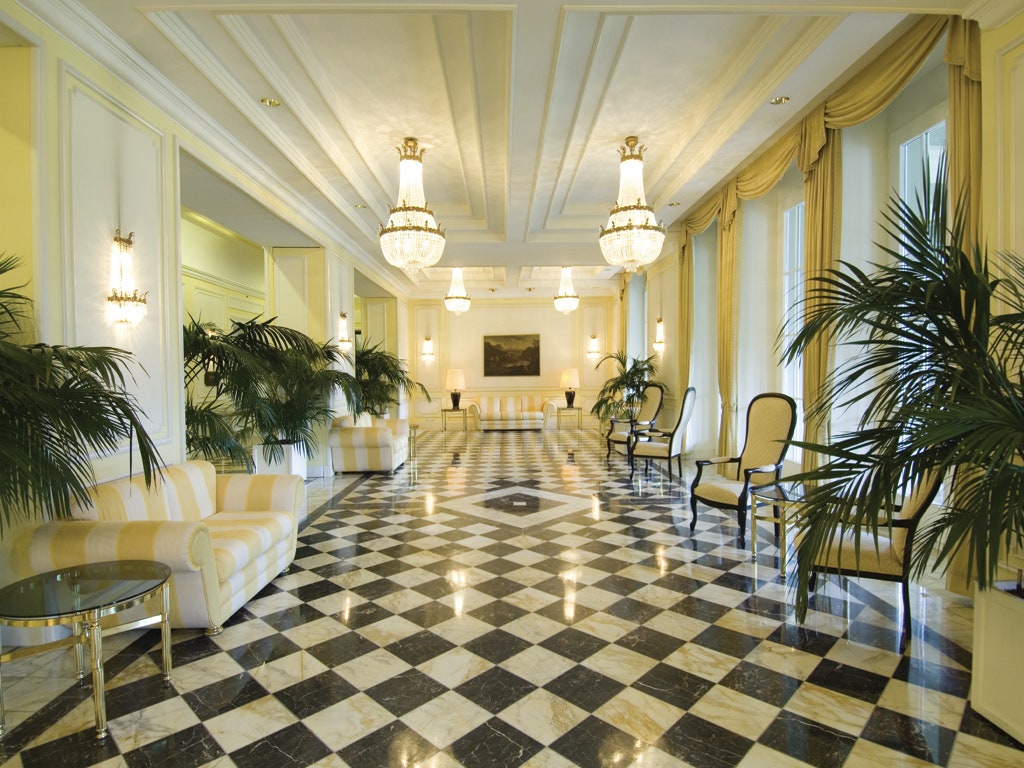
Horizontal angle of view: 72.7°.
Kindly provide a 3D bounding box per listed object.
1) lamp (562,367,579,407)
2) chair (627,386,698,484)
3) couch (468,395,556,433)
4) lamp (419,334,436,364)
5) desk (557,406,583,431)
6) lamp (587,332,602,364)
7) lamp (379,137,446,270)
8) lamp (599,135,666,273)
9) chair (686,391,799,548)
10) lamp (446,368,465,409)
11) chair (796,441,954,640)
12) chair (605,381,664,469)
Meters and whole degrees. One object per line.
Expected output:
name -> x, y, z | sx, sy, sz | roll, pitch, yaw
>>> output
lamp -> 1.412, 0.070, 16.444 | 0.422, 0.893, 0.379 | -3, 10, -14
chair -> 2.004, 0.606, 9.228 | 0.779, 1.199, 0.758 | 3, 1, 19
couch -> 0.031, 0.669, 16.246 | 1.904, 0.731, 1.088 | 0, 10, 1
lamp -> -2.020, -0.818, 16.640 | 0.387, 0.676, 0.221 | -2, 10, -10
desk -> 1.380, 0.767, 16.551 | 0.623, 0.536, 0.389 | 0, 10, 3
lamp -> 1.958, -0.837, 16.542 | 0.335, 0.718, 0.242 | 0, 10, 3
lamp -> -1.080, -1.918, 7.498 | 0.656, 1.350, 1.035 | -2, 10, -8
lamp -> 1.282, -1.943, 7.421 | 0.688, 1.456, 0.687 | -1, 0, -27
chair -> 2.182, 0.733, 6.568 | 0.790, 1.380, 0.746 | 0, 3, -24
lamp -> -1.338, 0.101, 16.421 | 0.407, 0.980, 0.729 | -1, 10, -4
chair -> 2.528, 1.090, 4.889 | 0.855, 1.173, 0.748 | 4, 4, 40
chair -> 1.928, 0.555, 10.968 | 0.806, 1.209, 0.813 | 4, -1, 22
